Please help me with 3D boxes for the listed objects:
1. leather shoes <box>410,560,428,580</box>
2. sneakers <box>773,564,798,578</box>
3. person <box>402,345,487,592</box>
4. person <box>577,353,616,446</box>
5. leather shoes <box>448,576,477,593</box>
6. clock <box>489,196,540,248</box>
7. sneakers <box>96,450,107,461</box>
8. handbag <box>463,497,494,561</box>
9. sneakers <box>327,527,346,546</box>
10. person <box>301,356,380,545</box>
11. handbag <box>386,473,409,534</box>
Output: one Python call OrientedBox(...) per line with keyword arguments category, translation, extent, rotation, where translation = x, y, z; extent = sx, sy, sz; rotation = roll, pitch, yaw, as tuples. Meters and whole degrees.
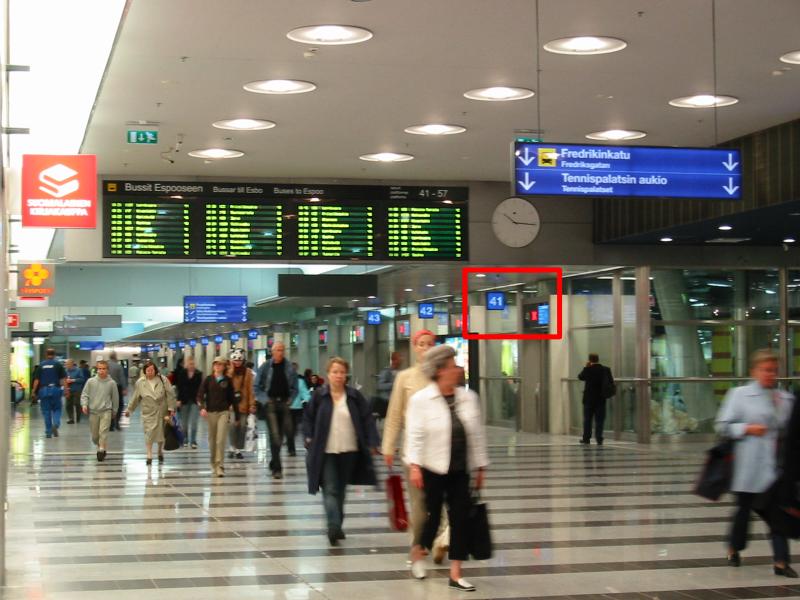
OrientedBox(category="leather shoes", translation=(0.155, 2.187, 7.018), extent=(0.081, 0.078, 0.202), rotation=(-1, 7, -7))
OrientedBox(category="sneakers", translation=(3.168, 2.217, 7.055), extent=(0.081, 0.079, 0.209), rotation=(6, -9, -37))
OrientedBox(category="person", translation=(0.355, 1.287, 6.773), extent=(0.634, 1.872, 0.412), rotation=(-2, -4, 2))
OrientedBox(category="person", translation=(4.371, 2.197, 19.128), extent=(0.785, 1.962, 0.655), rotation=(-2, -4, 11))
OrientedBox(category="leather shoes", translation=(0.476, 2.178, 6.648), extent=(0.150, 0.077, 0.238), rotation=(1, -4, -30))
OrientedBox(category="clock", translation=(2.336, -1.558, 17.662), extent=(1.237, 1.023, 0.079), rotation=(-4, 5, -30))
OrientedBox(category="sneakers", translation=(-5.572, 2.864, 15.898), extent=(0.206, 0.169, 0.429), rotation=(4, -28, -12))
OrientedBox(category="handbag", translation=(0.594, 1.737, 6.761), extent=(0.266, 0.491, 0.213), rotation=(0, 19, 22))
OrientedBox(category="sneakers", translation=(-0.625, 2.253, 8.274), extent=(0.136, 0.173, 0.175), rotation=(-1, -4, -2))
OrientedBox(category="person", translation=(-0.589, 1.464, 8.480), extent=(0.725, 1.786, 0.460), rotation=(-1, -4, -7))
OrientedBox(category="handbag", translation=(-0.014, 1.778, 7.513), extent=(0.143, 0.353, 0.107), rotation=(-19, -25, 34))
